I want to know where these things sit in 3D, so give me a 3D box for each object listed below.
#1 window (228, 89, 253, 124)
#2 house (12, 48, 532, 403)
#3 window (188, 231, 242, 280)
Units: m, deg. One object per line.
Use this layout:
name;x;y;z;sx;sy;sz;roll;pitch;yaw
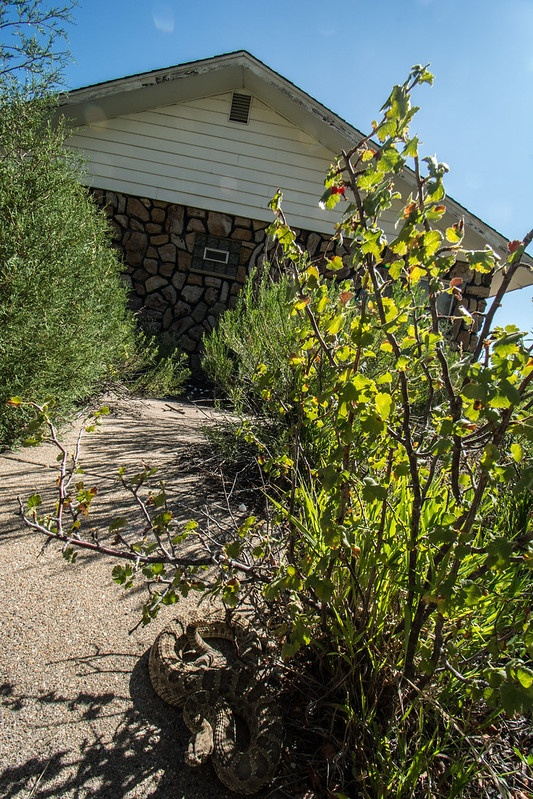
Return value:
window;-0.412;-4.519;9.322;0.438;0.601;0.102;6;10;-16
house;-1.026;-2.699;9.009;4.368;3.691;1.551;13;5;-11
window;-0.831;-2.338;9.727;0.673;0.567;0.055;9;19;-8
